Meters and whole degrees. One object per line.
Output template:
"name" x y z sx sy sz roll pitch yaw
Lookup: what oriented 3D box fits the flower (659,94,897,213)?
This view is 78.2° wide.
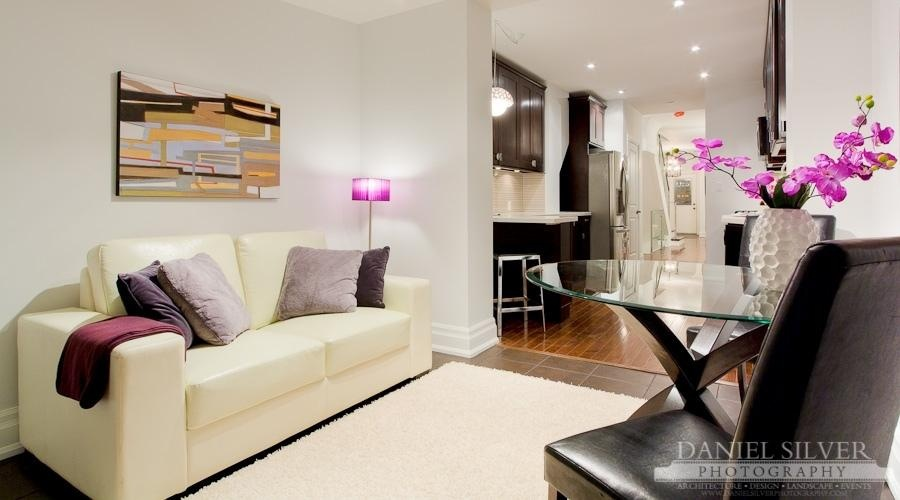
"flower" 2.088 -0.403 3.480 1.381 0.735 0.897 -3 1 13

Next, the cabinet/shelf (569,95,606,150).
"cabinet/shelf" 2.131 -2.010 8.676 0.375 0.816 0.960 0 2 31
